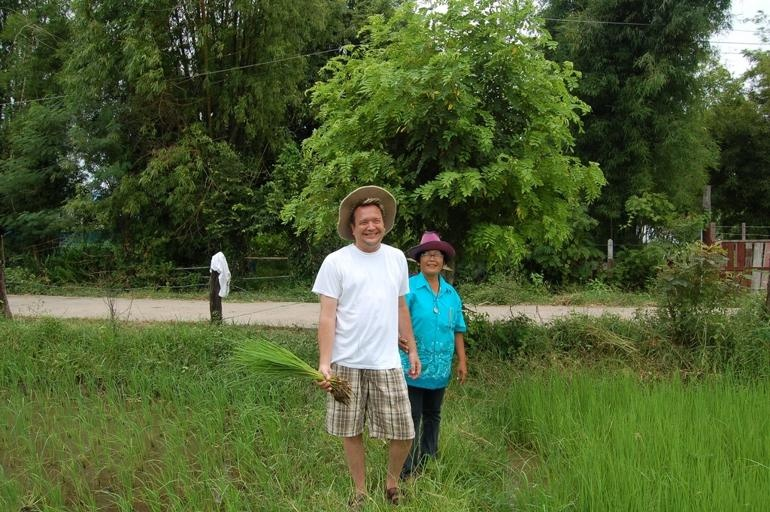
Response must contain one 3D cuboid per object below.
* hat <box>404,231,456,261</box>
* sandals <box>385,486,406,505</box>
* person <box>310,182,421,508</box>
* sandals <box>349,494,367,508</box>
[{"bbox_3d":[0.607,-0.108,8.740,0.378,0.193,0.466,-2,-19,1],"label":"hat"},{"bbox_3d":[0.129,2.867,7.899,0.195,0.178,0.181,3,-9,-29],"label":"sandals"},{"bbox_3d":[-0.238,1.065,7.975,1.131,3.773,0.329,0,-1,-7],"label":"person"},{"bbox_3d":[-0.310,2.916,7.865,0.116,0.062,0.118,29,22,3],"label":"sandals"}]
